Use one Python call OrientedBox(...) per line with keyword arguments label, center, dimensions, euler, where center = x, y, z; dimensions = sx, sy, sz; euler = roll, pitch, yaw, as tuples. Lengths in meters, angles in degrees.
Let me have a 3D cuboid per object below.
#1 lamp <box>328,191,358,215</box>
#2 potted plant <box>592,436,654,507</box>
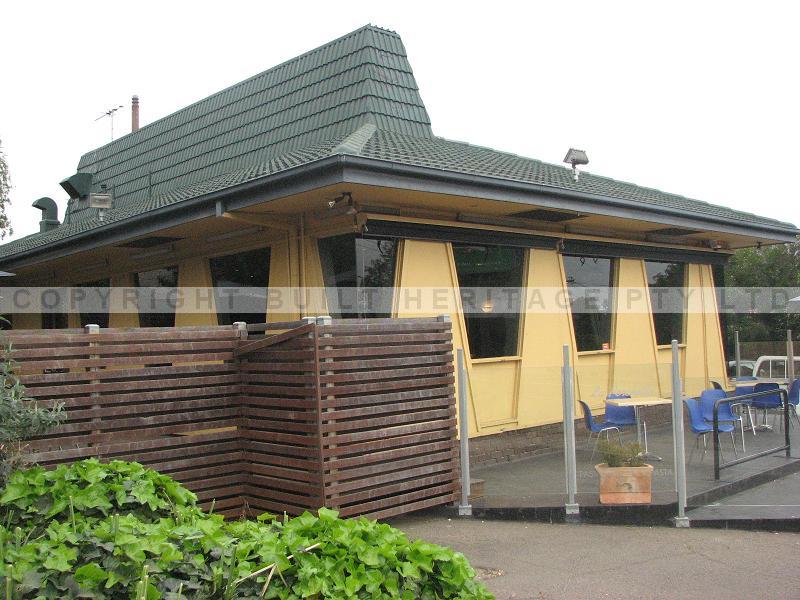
OrientedBox(label="lamp", center=(-0.830, -1.445, 11.102), dimensions=(0.374, 0.143, 0.332), euler=(-3, 16, 21))
OrientedBox(label="potted plant", center=(3.120, 2.256, 10.026), dimensions=(0.815, 0.780, 0.638), euler=(-12, -10, 42))
